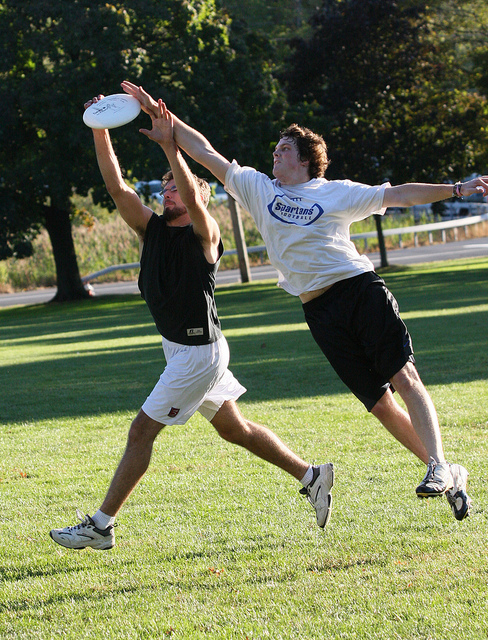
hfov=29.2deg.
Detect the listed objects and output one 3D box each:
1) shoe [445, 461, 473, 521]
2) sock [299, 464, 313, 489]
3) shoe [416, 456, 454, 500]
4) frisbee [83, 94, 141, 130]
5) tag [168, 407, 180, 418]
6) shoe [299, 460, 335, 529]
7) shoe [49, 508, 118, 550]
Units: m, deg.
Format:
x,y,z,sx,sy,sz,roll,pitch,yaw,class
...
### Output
x,y,z,sx,sy,sz,roll,pitch,yaw,class
0.992,0.863,4.429,0.121,0.086,0.233,20,31,-4,shoe
0.326,0.829,4.967,0.051,0.103,0.042,1,5,-36,sock
0.862,0.721,4.242,0.101,0.138,0.284,-11,-2,26,shoe
-0.711,-1.139,5.060,0.311,0.205,0.305,-9,5,-4,frisbee
-0.362,0.471,4.809,0.060,0.055,0.015,-13,7,-40,tag
0.381,0.902,4.876,0.189,0.322,0.117,-3,0,-3,shoe
-0.786,1.052,4.739,0.416,0.202,0.128,8,4,-10,shoe
